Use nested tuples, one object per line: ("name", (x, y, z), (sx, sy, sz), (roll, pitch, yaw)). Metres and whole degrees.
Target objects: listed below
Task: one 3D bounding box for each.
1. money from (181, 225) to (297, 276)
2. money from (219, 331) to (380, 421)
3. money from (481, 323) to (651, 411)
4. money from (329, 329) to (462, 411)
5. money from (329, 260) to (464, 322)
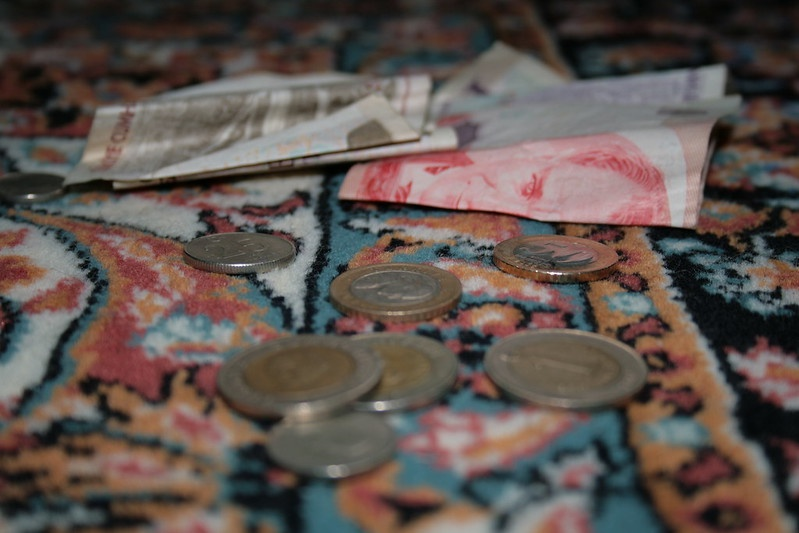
("money", (-0.252, -0.022, 1.208), (0.162, 0.020, 0.150), (3, 20, 3))
("money", (-0.134, 0.146, 1.053), (0.218, 0.036, 0.215), (-16, 22, -28))
("money", (0.228, 0.140, 1.050), (0.214, 0.037, 0.126), (-2, 34, 6))
("money", (-0.001, 0.151, 1.030), (0.154, 0.146, 0.015), (18, 19, -39))
("money", (-0.002, 0.036, 1.156), (0.202, 0.020, 0.195), (-19, 29, -40))
